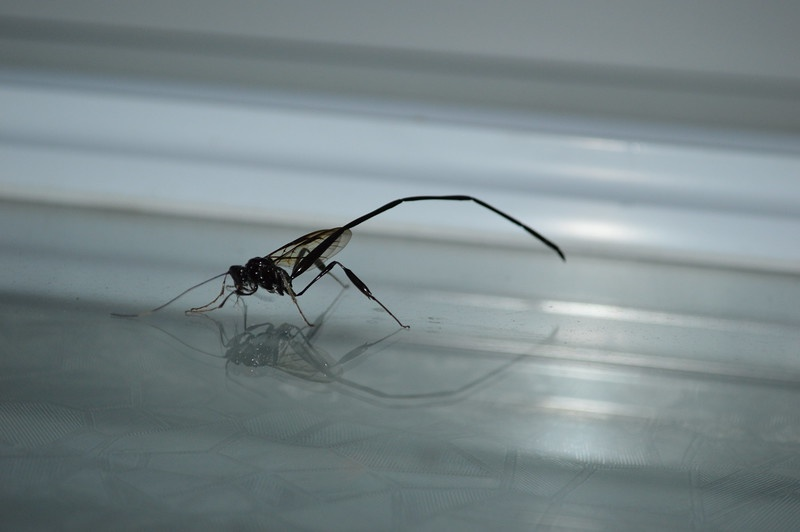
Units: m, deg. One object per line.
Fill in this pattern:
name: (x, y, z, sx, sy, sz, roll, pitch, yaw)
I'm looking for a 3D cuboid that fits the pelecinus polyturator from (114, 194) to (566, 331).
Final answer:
pelecinus polyturator: (-0.127, -0.038, 1.698, 0.861, 0.276, 0.379, -9, 21, -39)
